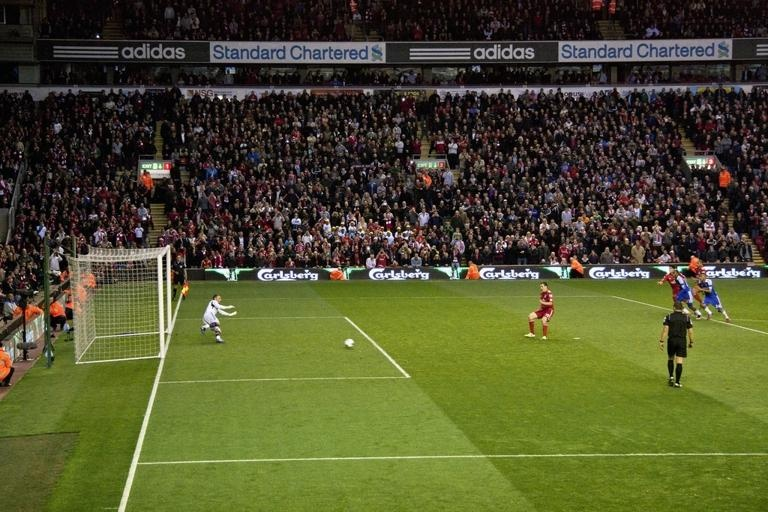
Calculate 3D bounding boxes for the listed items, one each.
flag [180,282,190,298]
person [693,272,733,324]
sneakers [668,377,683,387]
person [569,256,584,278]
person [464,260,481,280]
[{"bbox_3d":[-9.265,1.608,37.902,0.361,0.438,0.825,17,-18,-18],"label":"flag"},{"bbox_3d":[14.189,1.912,35.168,1.066,2.051,0.916,10,-32,-9],"label":"person"},{"bbox_3d":[8.525,3.729,23.791,0.176,0.229,0.525,1,11,6],"label":"sneakers"},{"bbox_3d":[10.657,0.685,44.843,0.756,1.183,1.388,2,9,11],"label":"person"},{"bbox_3d":[4.930,0.788,45.048,0.827,0.969,0.351,1,9,6],"label":"person"}]
